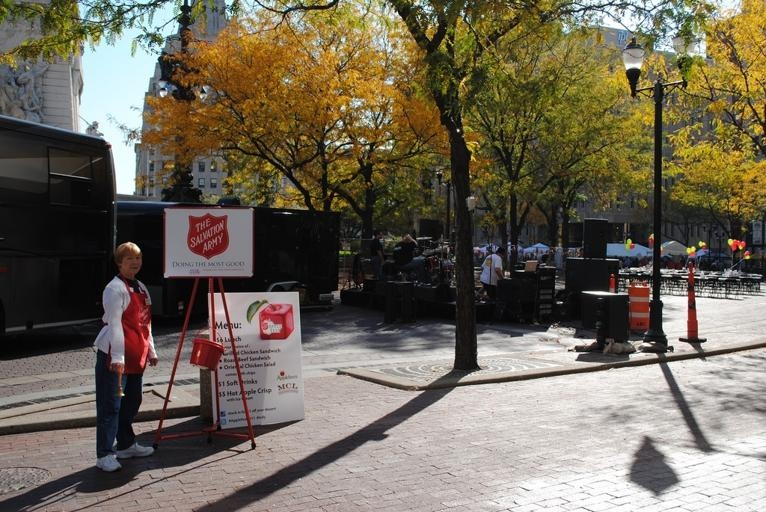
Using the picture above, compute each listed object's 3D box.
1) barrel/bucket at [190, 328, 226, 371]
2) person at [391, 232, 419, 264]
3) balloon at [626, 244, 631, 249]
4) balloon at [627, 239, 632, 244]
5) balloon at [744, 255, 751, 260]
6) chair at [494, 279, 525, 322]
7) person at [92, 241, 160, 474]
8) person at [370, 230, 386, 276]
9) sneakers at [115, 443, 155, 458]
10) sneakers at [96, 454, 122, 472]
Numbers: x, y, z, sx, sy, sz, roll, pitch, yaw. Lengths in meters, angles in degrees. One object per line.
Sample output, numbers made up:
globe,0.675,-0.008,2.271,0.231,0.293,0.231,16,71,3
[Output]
barrel/bucket,-2.436,1.353,9.982,0.496,0.384,0.491,10,-16,3
person,0.819,-0.249,27.184,0.807,1.176,1.832,-1,-1,12
balloon,13.602,-0.539,40.104,0.335,0.337,0.320,-2,2,15
balloon,14.767,-0.904,43.366,0.438,0.188,0.533,2,19,16
balloon,24.123,0.046,47.962,0.251,0.206,0.421,-3,13,6
chair,3.566,1.213,21.017,0.980,1.346,0.944,2,1,-16
person,-3.272,1.249,9.228,0.693,2.840,0.522,0,-1,-34
person,-0.204,-0.061,25.800,0.489,1.704,1.323,0,-1,-1
sneakers,-3.222,2.530,9.437,0.473,0.198,0.170,0,-1,-15
sneakers,-3.436,2.573,9.051,0.347,0.142,0.150,-2,-3,27
